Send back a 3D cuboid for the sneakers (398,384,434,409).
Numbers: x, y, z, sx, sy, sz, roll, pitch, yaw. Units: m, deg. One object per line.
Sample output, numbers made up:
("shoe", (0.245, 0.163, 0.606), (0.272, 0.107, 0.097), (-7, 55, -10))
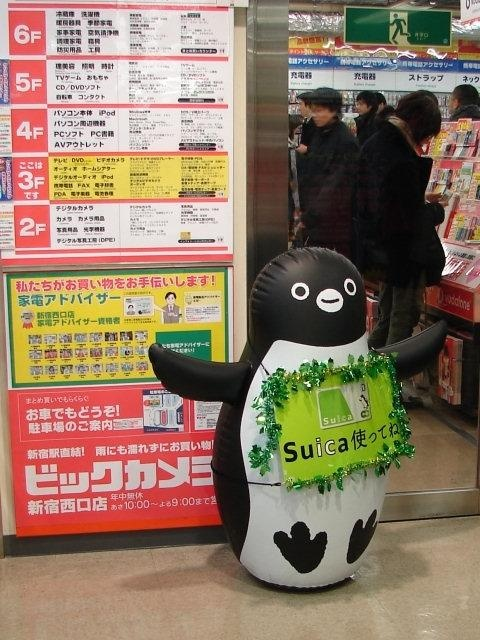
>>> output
("sneakers", (0.777, 0.341, 2.490), (0.117, 0.040, 0.152), (1, 6, 5))
